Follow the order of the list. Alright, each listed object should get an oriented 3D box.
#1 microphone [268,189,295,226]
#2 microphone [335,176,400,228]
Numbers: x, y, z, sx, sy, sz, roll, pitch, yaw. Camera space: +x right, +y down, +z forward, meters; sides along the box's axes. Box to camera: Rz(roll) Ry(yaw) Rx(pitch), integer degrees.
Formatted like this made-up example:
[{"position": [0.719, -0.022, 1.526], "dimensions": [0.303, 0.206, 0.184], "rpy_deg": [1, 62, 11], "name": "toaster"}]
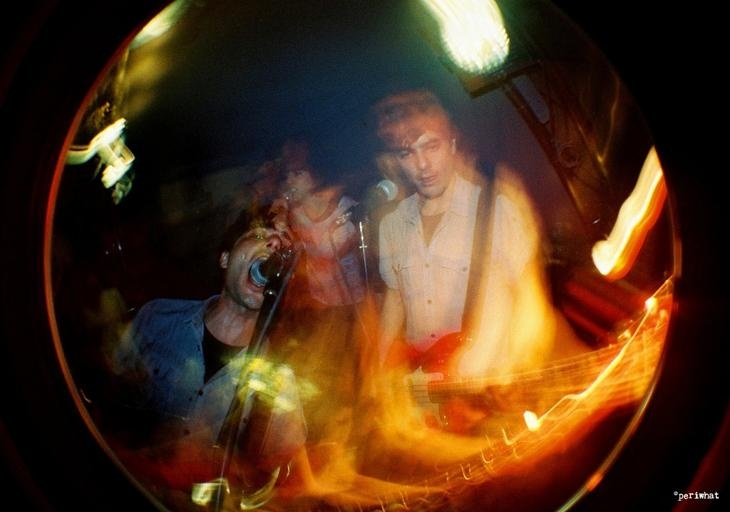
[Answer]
[{"position": [-0.570, -0.338, 4.337], "dimensions": [0.145, 0.252, 0.057], "rpy_deg": [24, -3, -7], "name": "microphone"}, {"position": [-0.001, -0.323, 3.861], "dimensions": [0.376, 0.259, 0.177], "rpy_deg": [2, 5, 40], "name": "microphone"}]
